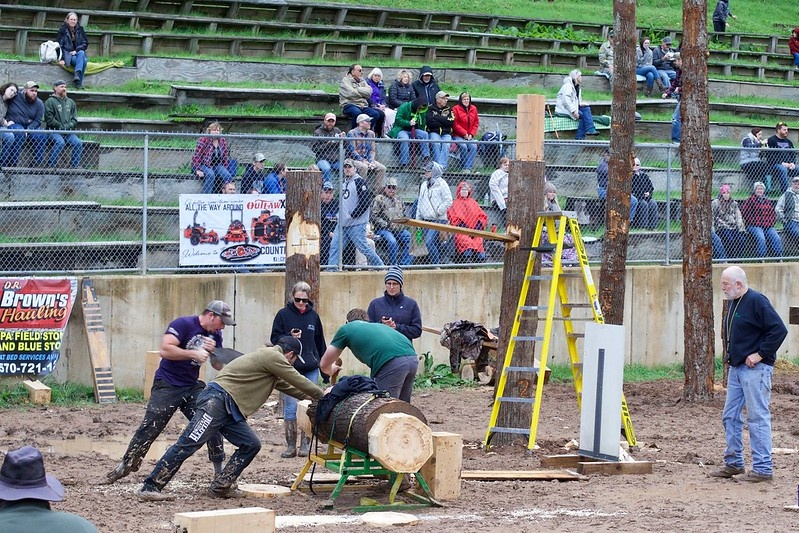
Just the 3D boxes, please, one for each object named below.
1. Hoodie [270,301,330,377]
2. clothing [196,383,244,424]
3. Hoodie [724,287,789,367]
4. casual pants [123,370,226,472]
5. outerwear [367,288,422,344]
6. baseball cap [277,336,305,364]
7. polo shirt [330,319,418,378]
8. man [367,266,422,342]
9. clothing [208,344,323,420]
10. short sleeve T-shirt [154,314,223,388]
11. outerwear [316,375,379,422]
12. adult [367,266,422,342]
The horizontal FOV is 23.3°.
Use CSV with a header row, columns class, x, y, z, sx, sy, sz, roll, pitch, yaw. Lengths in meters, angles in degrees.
class,x,y,z,sx,sy,sz,roll,pitch,yaw
Hoodie,-1.931,1.800,38.907,1.239,2.196,0.617,3,-10,-30
clothing,-3.340,2.528,37.012,0.767,0.542,0.735,46,-31,-17
Hoodie,6.875,1.239,38.028,0.992,1.621,1.587,7,-5,-29
casual pants,-4.344,3.089,37.974,1.483,1.518,0.611,28,-7,-19
outerwear,-0.132,1.010,39.856,1.146,1.123,0.658,0,9,8
baseball cap,-2.037,1.540,37.251,0.558,0.328,0.382,36,4,-18
polo shirt,-0.485,1.481,37.779,1.341,0.643,1.082,16,5,31
man,-0.117,0.959,39.744,1.187,1.859,1.003,2,8,12
clothing,-2.630,2.169,37.099,2.068,1.458,1.156,12,-11,-11
short sleeve T-shirt,-4.147,1.753,37.703,0.809,1.519,1.301,-2,-19,40
outerwear,-1.024,2.544,37.092,1.122,0.966,0.429,3,-2,-5
adult,-0.122,0.942,39.752,1.195,1.915,1.003,2,8,10
